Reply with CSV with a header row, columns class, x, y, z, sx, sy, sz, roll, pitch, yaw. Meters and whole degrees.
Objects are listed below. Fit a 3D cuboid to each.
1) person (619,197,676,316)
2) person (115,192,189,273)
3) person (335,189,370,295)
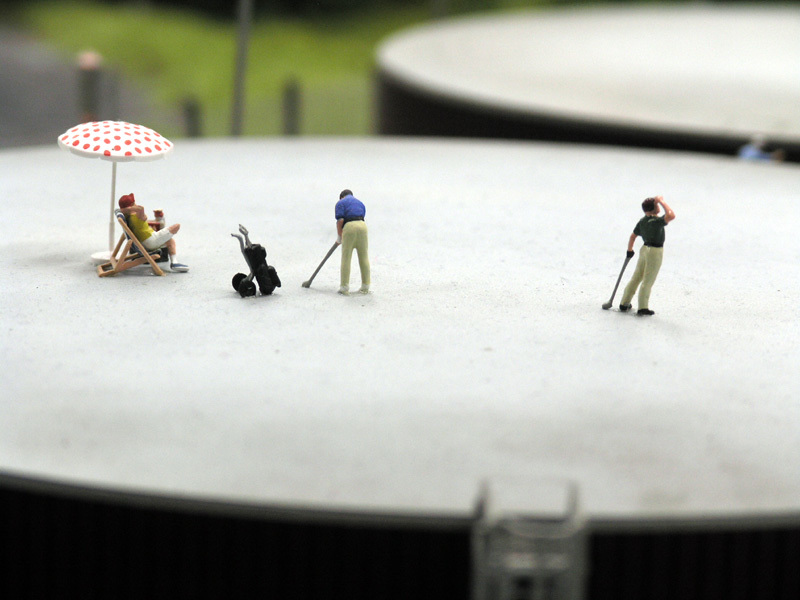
class,x,y,z,sx,sy,sz,roll,pitch,yaw
person,2.758,-0.560,12.487,0.474,1.341,0.965,6,17,11
person,-2.932,-0.794,13.284,0.582,1.062,0.442,-33,1,-17
person,-0.539,-0.663,12.704,0.403,1.142,0.628,2,17,-3
